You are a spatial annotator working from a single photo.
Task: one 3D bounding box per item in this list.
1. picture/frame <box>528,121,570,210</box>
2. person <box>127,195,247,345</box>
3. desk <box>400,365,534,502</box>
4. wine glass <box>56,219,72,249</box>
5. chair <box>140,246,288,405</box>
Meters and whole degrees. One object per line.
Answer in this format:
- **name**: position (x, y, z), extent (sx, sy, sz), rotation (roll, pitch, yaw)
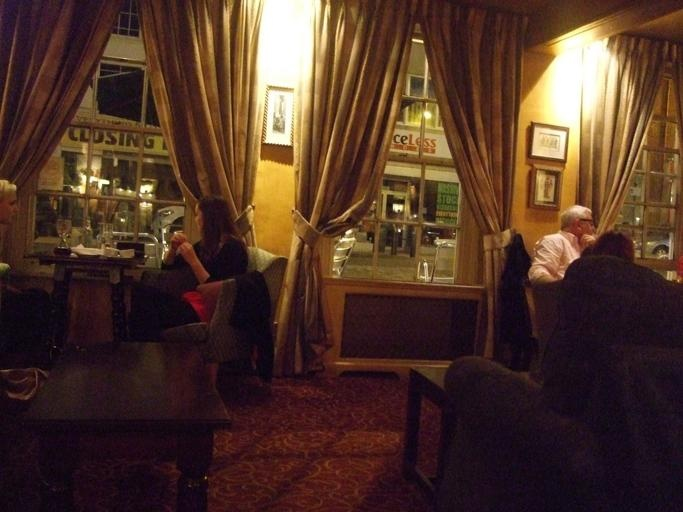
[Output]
- **picture/frame**: position (1.899, -0.823, 5.230), extent (0.424, 0.591, 0.087), rotation (3, 3, -17)
- **person**: position (-1.087, 0.216, 3.965), extent (0.720, 1.279, 0.492), rotation (8, 3, -34)
- **desk**: position (0.599, 0.889, 2.895), extent (0.548, 0.920, 0.578), rotation (1, -1, -33)
- **wine glass**: position (-1.946, -0.165, 3.983), extent (0.086, 0.189, 0.252), rotation (3, 5, -27)
- **chair**: position (-0.975, 0.454, 4.151), extent (0.960, 1.217, 0.846), rotation (8, -13, -32)
